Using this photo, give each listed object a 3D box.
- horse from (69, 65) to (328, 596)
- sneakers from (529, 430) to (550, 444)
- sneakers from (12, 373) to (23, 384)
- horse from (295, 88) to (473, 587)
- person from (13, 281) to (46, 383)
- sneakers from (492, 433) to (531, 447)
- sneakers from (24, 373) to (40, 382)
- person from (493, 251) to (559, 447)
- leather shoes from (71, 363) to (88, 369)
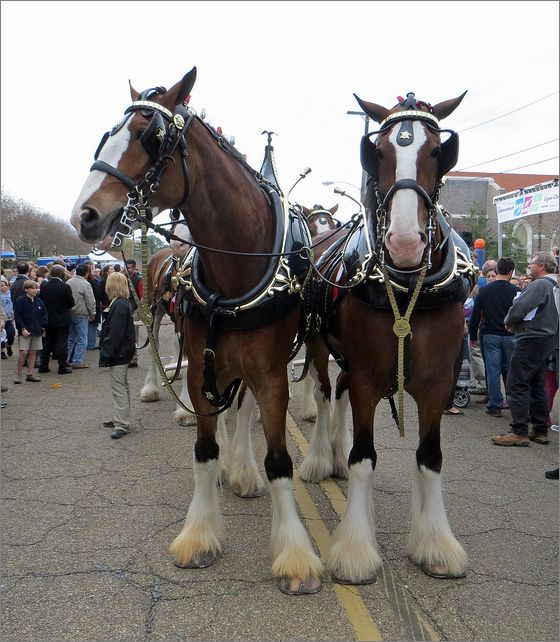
[{"bbox_3d":[-0.359,0.040,4.582,1.277,2.914,0.977,1,12,2],"label":"horse"},{"bbox_3d":[2.443,1.111,7.346,0.089,0.092,0.218,0,9,-25],"label":"sneakers"},{"bbox_3d":[-3.373,0.764,9.976,0.098,0.154,0.248,3,-9,-14],"label":"sneakers"},{"bbox_3d":[0.703,0.305,5.358,1.091,2.696,3.115,2,-10,-1],"label":"horse"},{"bbox_3d":[-3.325,0.146,10.189,0.446,1.310,0.960,-3,11,-16],"label":"person"},{"bbox_3d":[2.116,1.102,7.178,0.372,0.144,0.128,4,-8,7],"label":"sneakers"},{"bbox_3d":[-3.277,0.739,10.101,0.224,0.083,0.082,11,8,21],"label":"sneakers"},{"bbox_3d":[2.359,0.249,7.351,0.508,1.760,1.061,4,12,18],"label":"person"},{"bbox_3d":[-3.007,0.669,11.480,0.203,0.073,0.063,-7,19,-37],"label":"leather shoes"}]
